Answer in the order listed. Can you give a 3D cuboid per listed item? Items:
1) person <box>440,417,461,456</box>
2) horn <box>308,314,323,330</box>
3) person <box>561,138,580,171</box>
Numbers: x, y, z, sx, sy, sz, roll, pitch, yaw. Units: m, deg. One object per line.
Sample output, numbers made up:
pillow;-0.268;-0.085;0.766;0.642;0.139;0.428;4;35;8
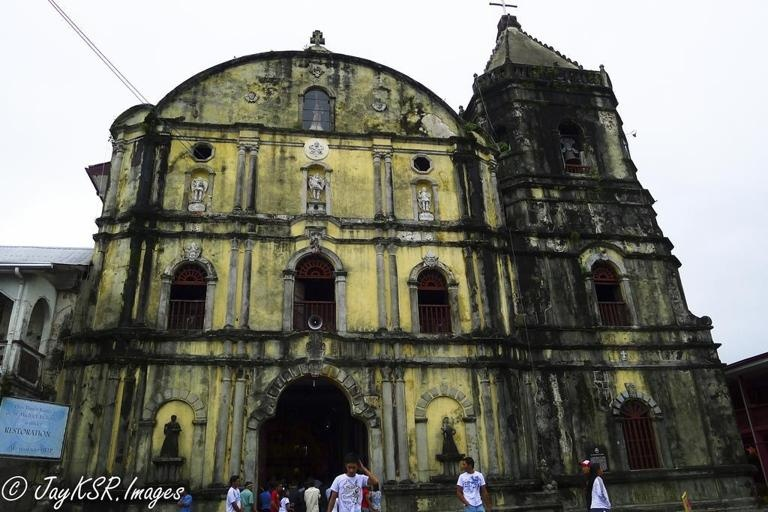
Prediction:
person;2.515;6.940;18.491;0.582;1.422;0.447;-5;-28;5
horn;-2.743;2.675;19.366;0.539;0.535;0.572;-4;-9;-13
person;9.873;-5.322;25.233;0.951;2.282;0.321;-1;-28;-3
